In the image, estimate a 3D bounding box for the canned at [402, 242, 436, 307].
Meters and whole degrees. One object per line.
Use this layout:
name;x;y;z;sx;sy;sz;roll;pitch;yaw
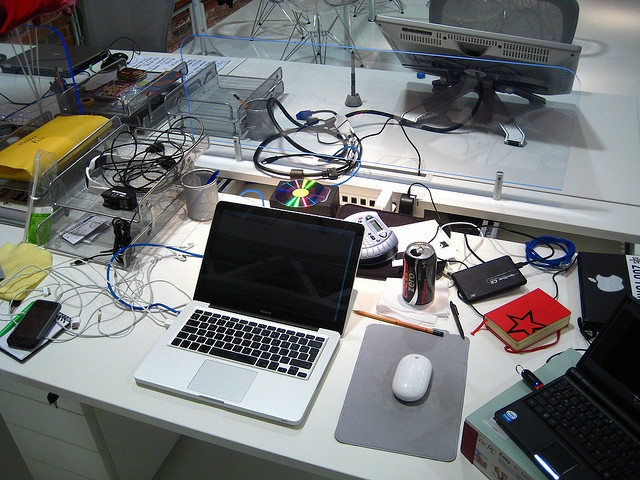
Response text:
canned;0.288;0.110;1.474;0.107;0.182;0.117;-16;39;-21

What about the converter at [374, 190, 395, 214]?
converter;0.237;-0.141;1.806;0.040;0.073;0.079;10;41;14

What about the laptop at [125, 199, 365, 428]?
laptop;-0.149;0.193;1.388;0.598;0.286;0.589;13;49;14

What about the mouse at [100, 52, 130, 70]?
mouse;-1.044;-0.905;2.460;0.091;0.030;0.134;-16;15;-10

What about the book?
book;0.594;0.222;1.382;0.221;0.048;0.149;-21;34;-25

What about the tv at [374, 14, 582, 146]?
tv;0.519;-0.582;1.797;0.740;0.376;0.153;17;48;19

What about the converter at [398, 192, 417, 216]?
converter;0.318;-0.129;1.787;0.064;0.100;0.058;15;34;23

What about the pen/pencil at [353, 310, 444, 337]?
pen/pencil;0.235;0.249;1.424;0.281;0.018;0.021;11;80;10

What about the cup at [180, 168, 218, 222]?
cup;-0.429;-0.154;1.814;0.125;0.209;0.127;3;39;-2

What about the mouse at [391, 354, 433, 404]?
mouse;0.239;0.354;1.280;0.100;0.042;0.136;8;41;19
